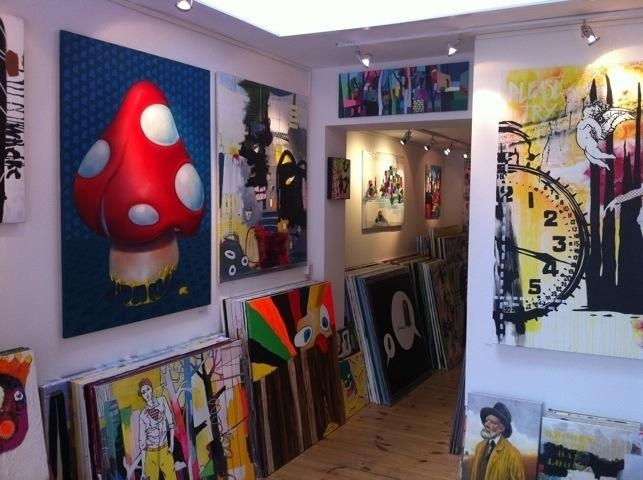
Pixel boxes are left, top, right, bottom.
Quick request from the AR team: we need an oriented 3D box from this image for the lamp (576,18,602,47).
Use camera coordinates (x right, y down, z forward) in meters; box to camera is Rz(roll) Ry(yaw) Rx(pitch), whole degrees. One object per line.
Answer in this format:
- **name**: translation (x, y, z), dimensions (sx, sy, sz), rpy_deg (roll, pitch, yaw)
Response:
- **lamp**: translation (2.083, -1.599, 3.567), dimensions (0.099, 0.189, 0.126), rpy_deg (-31, -3, -7)
